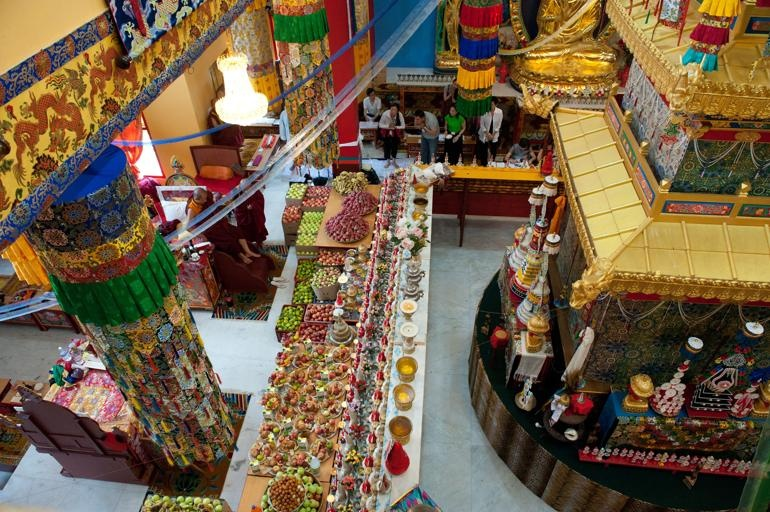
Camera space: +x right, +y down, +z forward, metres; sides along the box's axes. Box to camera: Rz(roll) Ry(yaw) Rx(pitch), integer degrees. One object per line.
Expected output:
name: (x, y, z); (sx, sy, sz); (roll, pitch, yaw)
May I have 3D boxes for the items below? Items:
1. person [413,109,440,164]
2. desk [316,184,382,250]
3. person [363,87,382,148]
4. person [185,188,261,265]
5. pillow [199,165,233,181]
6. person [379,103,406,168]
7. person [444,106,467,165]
person: (0.791, -2.212, 9.847); (0.537, 1.268, 0.427); (-14, 41, -15)
desk: (-0.563, -0.582, 8.521); (0.952, 0.359, 1.461); (5, 72, 3)
person: (-0.159, -3.007, 10.903); (0.431, 1.058, 0.549); (-30, 43, -32)
person: (-2.594, -0.491, 8.272); (0.879, 1.311, 0.736); (12, 38, 21)
pillow: (-3.197, -1.595, 9.796); (0.662, 0.201, 0.240); (7, 36, 14)
person: (0.180, -2.468, 10.329); (0.529, 1.195, 0.469); (-18, 38, -18)
person: (1.320, -2.279, 9.658); (0.355, 1.036, 0.408); (0, 36, 6)
